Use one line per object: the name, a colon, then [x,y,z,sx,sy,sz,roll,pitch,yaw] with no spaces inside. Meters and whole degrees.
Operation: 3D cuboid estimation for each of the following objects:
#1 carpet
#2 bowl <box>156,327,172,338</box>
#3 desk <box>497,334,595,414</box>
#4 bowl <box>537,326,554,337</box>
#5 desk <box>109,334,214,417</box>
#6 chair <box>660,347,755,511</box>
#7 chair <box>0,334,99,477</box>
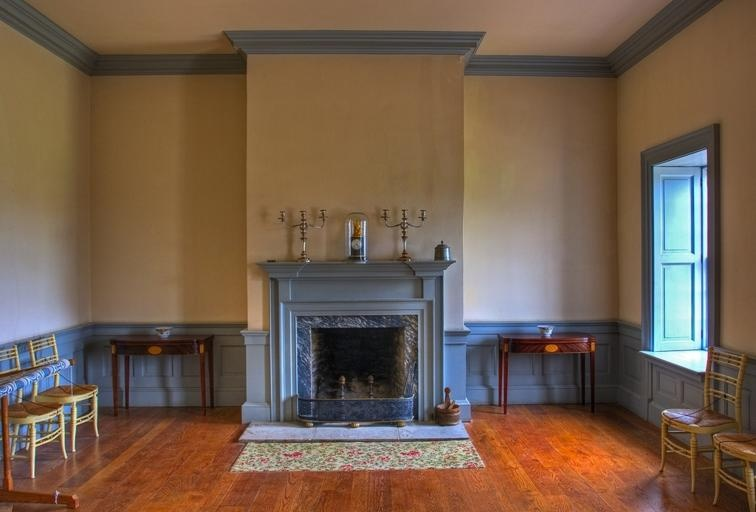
carpet: [-0.208,2.098,6.375,2.564,0.207,0.543,-2,-3,0]
bowl: [-2.631,0.927,7.406,0.151,0.102,0.142,-1,-11,0]
desk: [2.074,1.418,7.539,1.129,0.903,0.688,0,-2,0]
bowl: [2.053,0.917,7.448,0.158,0.107,0.146,1,-6,0]
desk: [-2.683,1.363,7.671,1.203,0.981,0.754,-1,18,0]
chair: [3.231,1.598,6.052,0.841,1.152,0.762,0,-3,-41]
chair: [-3.542,1.629,6.441,0.582,1.184,1.364,0,1,-1]
